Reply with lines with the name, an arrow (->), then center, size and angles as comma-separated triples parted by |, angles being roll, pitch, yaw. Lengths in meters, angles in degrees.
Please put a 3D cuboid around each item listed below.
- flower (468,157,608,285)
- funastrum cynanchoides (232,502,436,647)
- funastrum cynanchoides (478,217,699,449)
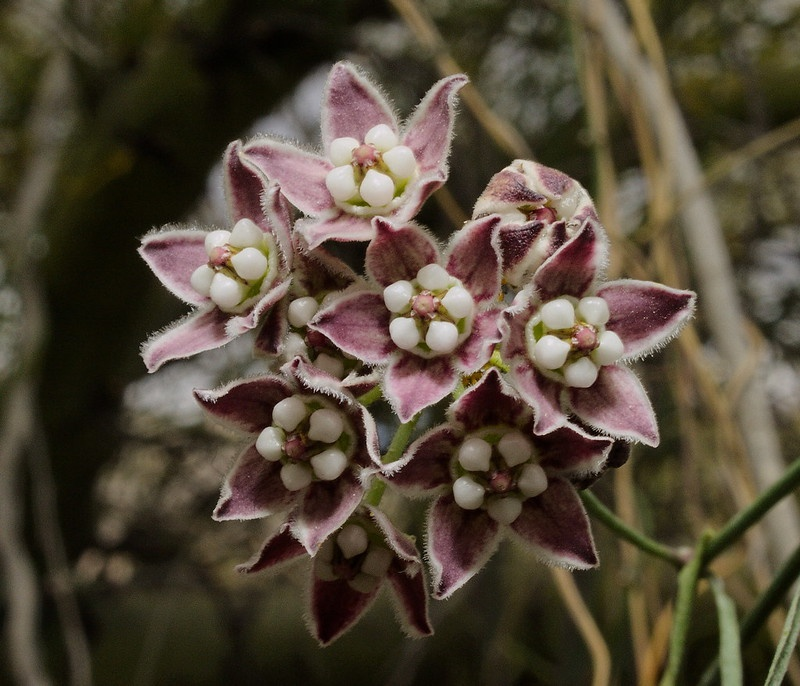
flower -> 0.231, -0.249, 2.188 | 0.308, 0.230, 0.142 | 21, 50, -13
funastrum cynanchoides -> -0.105, 0.431, 2.075 | 0.370, 0.297, 0.121 | -5, 35, 24
funastrum cynanchoides -> 0.351, -0.017, 2.022 | 0.329, 0.397, 0.138 | 13, -9, 4
